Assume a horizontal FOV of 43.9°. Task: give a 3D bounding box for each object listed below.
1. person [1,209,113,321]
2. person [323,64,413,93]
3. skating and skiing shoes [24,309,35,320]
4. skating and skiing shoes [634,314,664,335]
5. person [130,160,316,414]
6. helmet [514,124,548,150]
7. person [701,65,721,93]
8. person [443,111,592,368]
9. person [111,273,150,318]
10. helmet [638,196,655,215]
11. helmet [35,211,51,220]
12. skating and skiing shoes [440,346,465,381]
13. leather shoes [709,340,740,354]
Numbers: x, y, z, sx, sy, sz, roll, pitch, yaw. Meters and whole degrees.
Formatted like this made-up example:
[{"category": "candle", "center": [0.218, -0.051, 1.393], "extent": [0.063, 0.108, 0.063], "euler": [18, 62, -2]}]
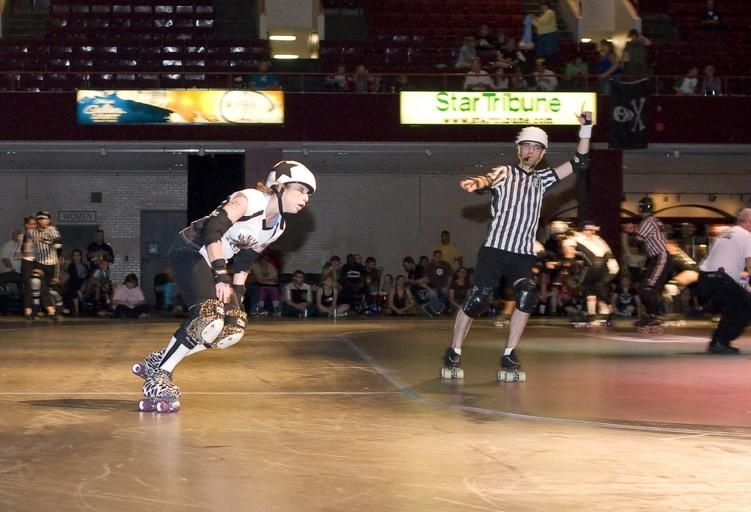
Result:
[{"category": "person", "center": [-5.679, 0.178, 16.032], "extent": [0.583, 1.871, 0.715], "euler": [6, 9, 43]}, {"category": "person", "center": [-0.141, -3.518, 18.876], "extent": [1.704, 0.383, 0.288], "euler": [0, 7, 1]}, {"category": "skating and skiing shoes", "center": [-5.849, 0.996, 15.932], "extent": [0.199, 0.198, 0.187], "euler": [2, -10, -18]}, {"category": "skating and skiing shoes", "center": [4.057, 1.036, 13.925], "extent": [0.210, 0.236, 0.545], "euler": [0, -8, 3]}, {"category": "person", "center": [-1.304, 0.245, 8.057], "extent": [1.465, 2.113, 0.542], "euler": [-2, 7, -13]}, {"category": "helmet", "center": [1.567, -1.199, 9.331], "extent": [0.317, 0.188, 0.354], "euler": [9, 21, 5]}, {"category": "person", "center": [7.204, -3.792, 20.089], "extent": [0.394, 0.741, 1.872], "euler": [2, 6, 19]}, {"category": "person", "center": [1.421, -0.127, 9.377], "extent": [1.389, 2.643, 0.920], "euler": [1, 7, 8]}, {"category": "person", "center": [-4.401, 0.754, 17.149], "extent": [0.794, 0.755, 0.733], "euler": [4, 5, -1]}, {"category": "helmet", "center": [4.209, -0.783, 14.524], "extent": [0.308, 0.289, 0.227], "euler": [-3, 2, 20]}, {"category": "helmet", "center": [-5.614, -0.701, 15.926], "extent": [0.347, 0.136, 0.410], "euler": [0, -1, -12]}, {"category": "skating and skiing shoes", "center": [0.759, 1.058, 9.170], "extent": [0.241, 0.294, 0.228], "euler": [-2, 7, -13]}, {"category": "leather shoes", "center": [4.104, 1.090, 11.099], "extent": [0.442, 0.173, 0.138], "euler": [1, 4, -15]}]
